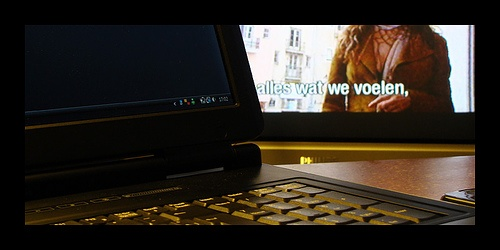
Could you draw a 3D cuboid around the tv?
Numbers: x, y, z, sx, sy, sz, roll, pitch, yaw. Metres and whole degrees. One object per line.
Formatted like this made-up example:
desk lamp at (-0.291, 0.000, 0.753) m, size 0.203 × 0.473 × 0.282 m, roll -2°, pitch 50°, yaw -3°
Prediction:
tv at (0.830, -0.418, 3.111) m, size 2.097 × 0.966 × 0.972 m, roll 4°, pitch 1°, yaw -5°
